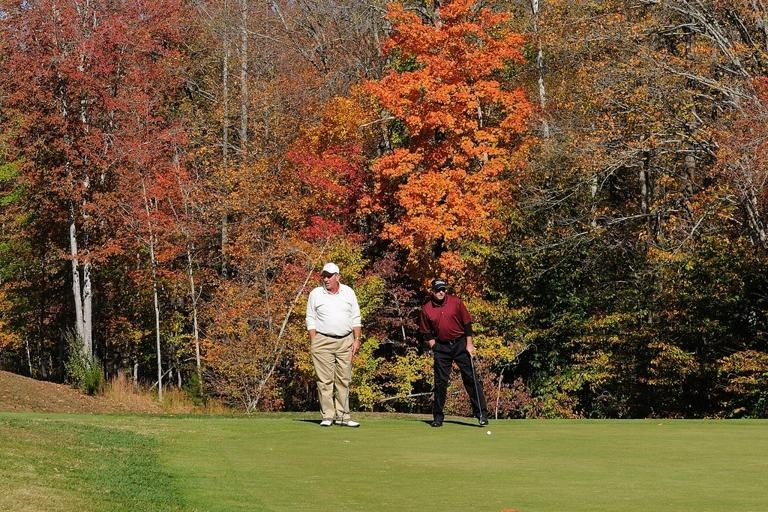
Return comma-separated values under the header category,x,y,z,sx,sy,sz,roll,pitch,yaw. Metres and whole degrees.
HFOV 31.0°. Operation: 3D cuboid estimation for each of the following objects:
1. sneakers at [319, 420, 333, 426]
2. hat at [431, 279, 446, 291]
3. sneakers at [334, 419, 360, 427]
category,x,y,z,sx,sy,sz,roll,pitch,yaw
sneakers,-1.764,4.959,41.359,0.359,0.169,0.241,-1,11,-12
hat,1.608,0.833,42.034,0.387,0.386,0.770,3,11,5
sneakers,-1.152,4.985,41.504,0.654,0.172,0.244,-1,-2,16
